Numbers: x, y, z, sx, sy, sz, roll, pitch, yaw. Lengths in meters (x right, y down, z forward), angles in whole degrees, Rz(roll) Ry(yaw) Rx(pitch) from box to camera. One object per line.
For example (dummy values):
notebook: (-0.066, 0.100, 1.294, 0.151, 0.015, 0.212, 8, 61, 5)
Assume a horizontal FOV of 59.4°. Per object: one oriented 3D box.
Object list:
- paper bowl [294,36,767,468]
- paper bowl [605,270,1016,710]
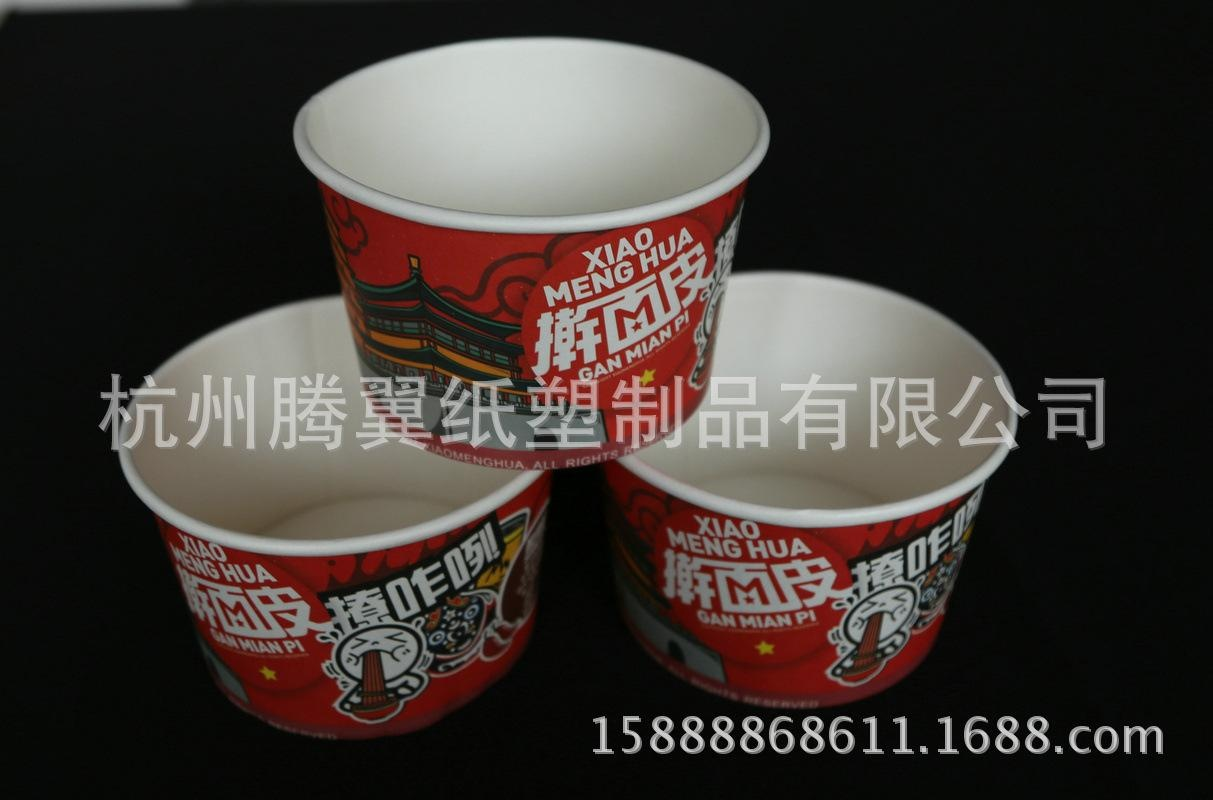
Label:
paper bowl: (-0.082, -0.124, 1.588, 0.641, 0.402, 0.655, 1, 39, -1)
paper bowl: (0.310, 0.182, 1.670, 0.560, 0.380, 0.605, -4, 21, 2)
